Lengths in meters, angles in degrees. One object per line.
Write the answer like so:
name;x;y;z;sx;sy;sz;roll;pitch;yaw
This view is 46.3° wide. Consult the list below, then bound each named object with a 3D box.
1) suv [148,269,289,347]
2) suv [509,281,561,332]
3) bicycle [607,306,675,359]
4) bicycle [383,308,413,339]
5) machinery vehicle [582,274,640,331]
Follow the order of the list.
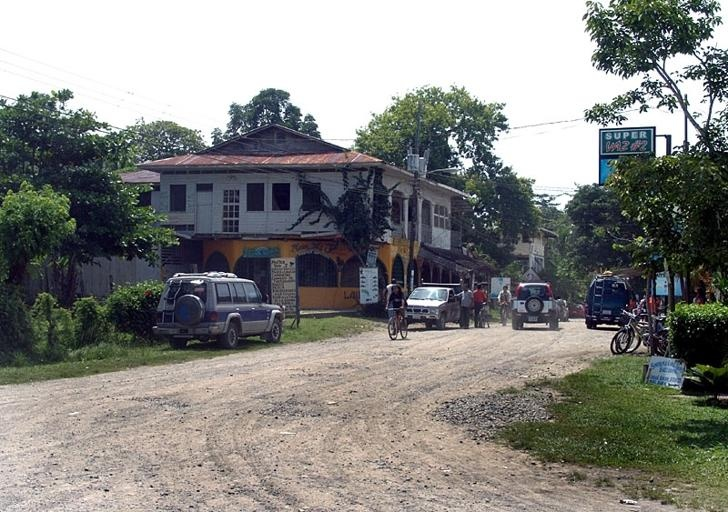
suv;-4.093;1.688;26.050;1.689;2.367;4.696;4;5;36
suv;7.529;2.216;37.692;1.872;2.166;3.188;-2;-1;15
bicycle;7.822;2.169;24.163;1.803;1.346;0.610;0;-1;12
bicycle;1.178;2.415;29.851;0.620;1.081;1.448;1;4;3
machinery vehicle;11.176;2.141;38.752;1.961;2.502;4.130;2;2;20
